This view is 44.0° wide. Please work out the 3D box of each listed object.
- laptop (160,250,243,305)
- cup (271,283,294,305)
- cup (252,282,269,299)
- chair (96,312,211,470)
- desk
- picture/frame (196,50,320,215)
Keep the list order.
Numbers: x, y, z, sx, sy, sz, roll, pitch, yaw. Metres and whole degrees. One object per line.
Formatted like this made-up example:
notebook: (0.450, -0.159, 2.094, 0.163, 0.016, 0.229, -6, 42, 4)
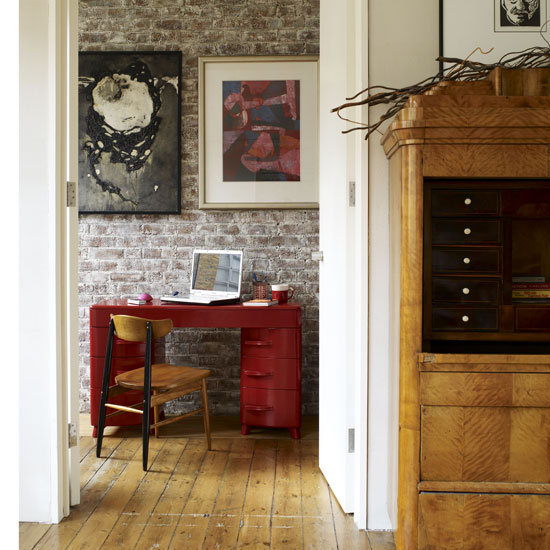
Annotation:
laptop: (-0.400, 0.004, 3.727, 0.419, 0.263, 0.474, 0, 6, 2)
cup: (0.045, 0.114, 3.757, 0.124, 0.096, 0.084, 2, -5, -30)
cup: (-0.088, 0.086, 3.755, 0.105, 0.158, 0.081, 1, 4, -5)
chair: (-0.586, 0.536, 3.300, 0.405, 0.706, 0.523, 1, 3, 23)
desk: (-0.416, 0.504, 3.679, 1.089, 0.746, 0.408, 1, 7, -3)
picture/frame: (-0.084, -0.867, 3.909, 0.907, 1.190, 0.046, 0, 4, 0)
